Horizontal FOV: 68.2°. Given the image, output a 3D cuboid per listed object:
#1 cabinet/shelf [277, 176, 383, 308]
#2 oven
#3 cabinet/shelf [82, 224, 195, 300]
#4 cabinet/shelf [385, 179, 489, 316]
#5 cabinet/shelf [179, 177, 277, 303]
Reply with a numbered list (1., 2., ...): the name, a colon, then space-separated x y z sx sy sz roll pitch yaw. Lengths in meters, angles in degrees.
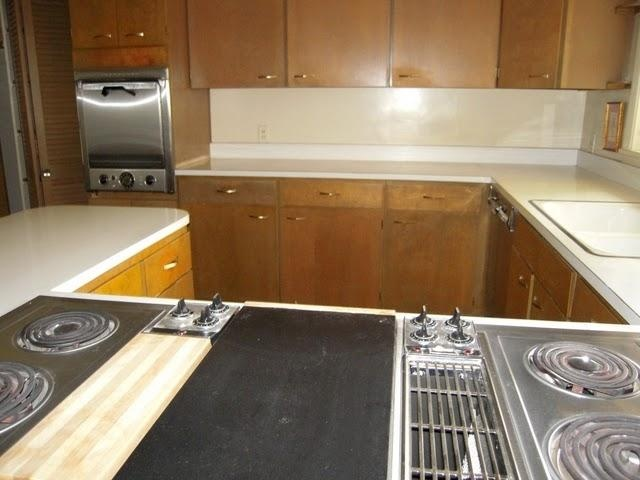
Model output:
1. cabinet/shelf: 0.093 -0.108 3.361 0.687 0.541 1.036 1 -52 4
2. oven: -1.336 -0.725 3.340 0.577 0.526 0.815 -3 -83 -13
3. cabinet/shelf: -0.641 0.121 1.772 0.212 0.382 0.332 1 -72 2
4. cabinet/shelf: 0.758 -0.095 3.658 0.728 0.758 1.477 1 -75 8
5. cabinet/shelf: -0.618 -0.020 3.233 0.672 0.395 0.764 6 -49 16
